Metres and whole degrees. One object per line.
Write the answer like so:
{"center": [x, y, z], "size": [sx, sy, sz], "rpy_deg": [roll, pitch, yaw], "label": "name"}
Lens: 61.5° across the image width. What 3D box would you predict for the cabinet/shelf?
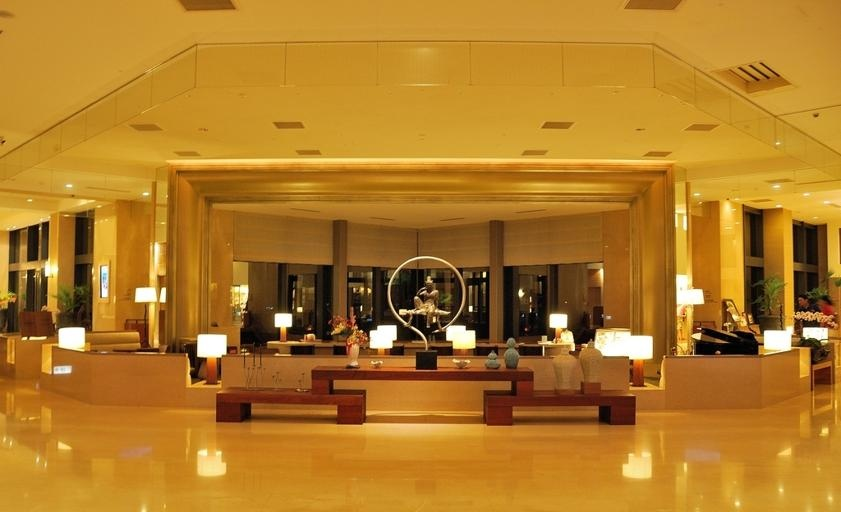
{"center": [0.118, 2.581, 12.791], "size": [7.177, 0.995, 0.849], "rpy_deg": [1, -20, -2], "label": "cabinet/shelf"}
